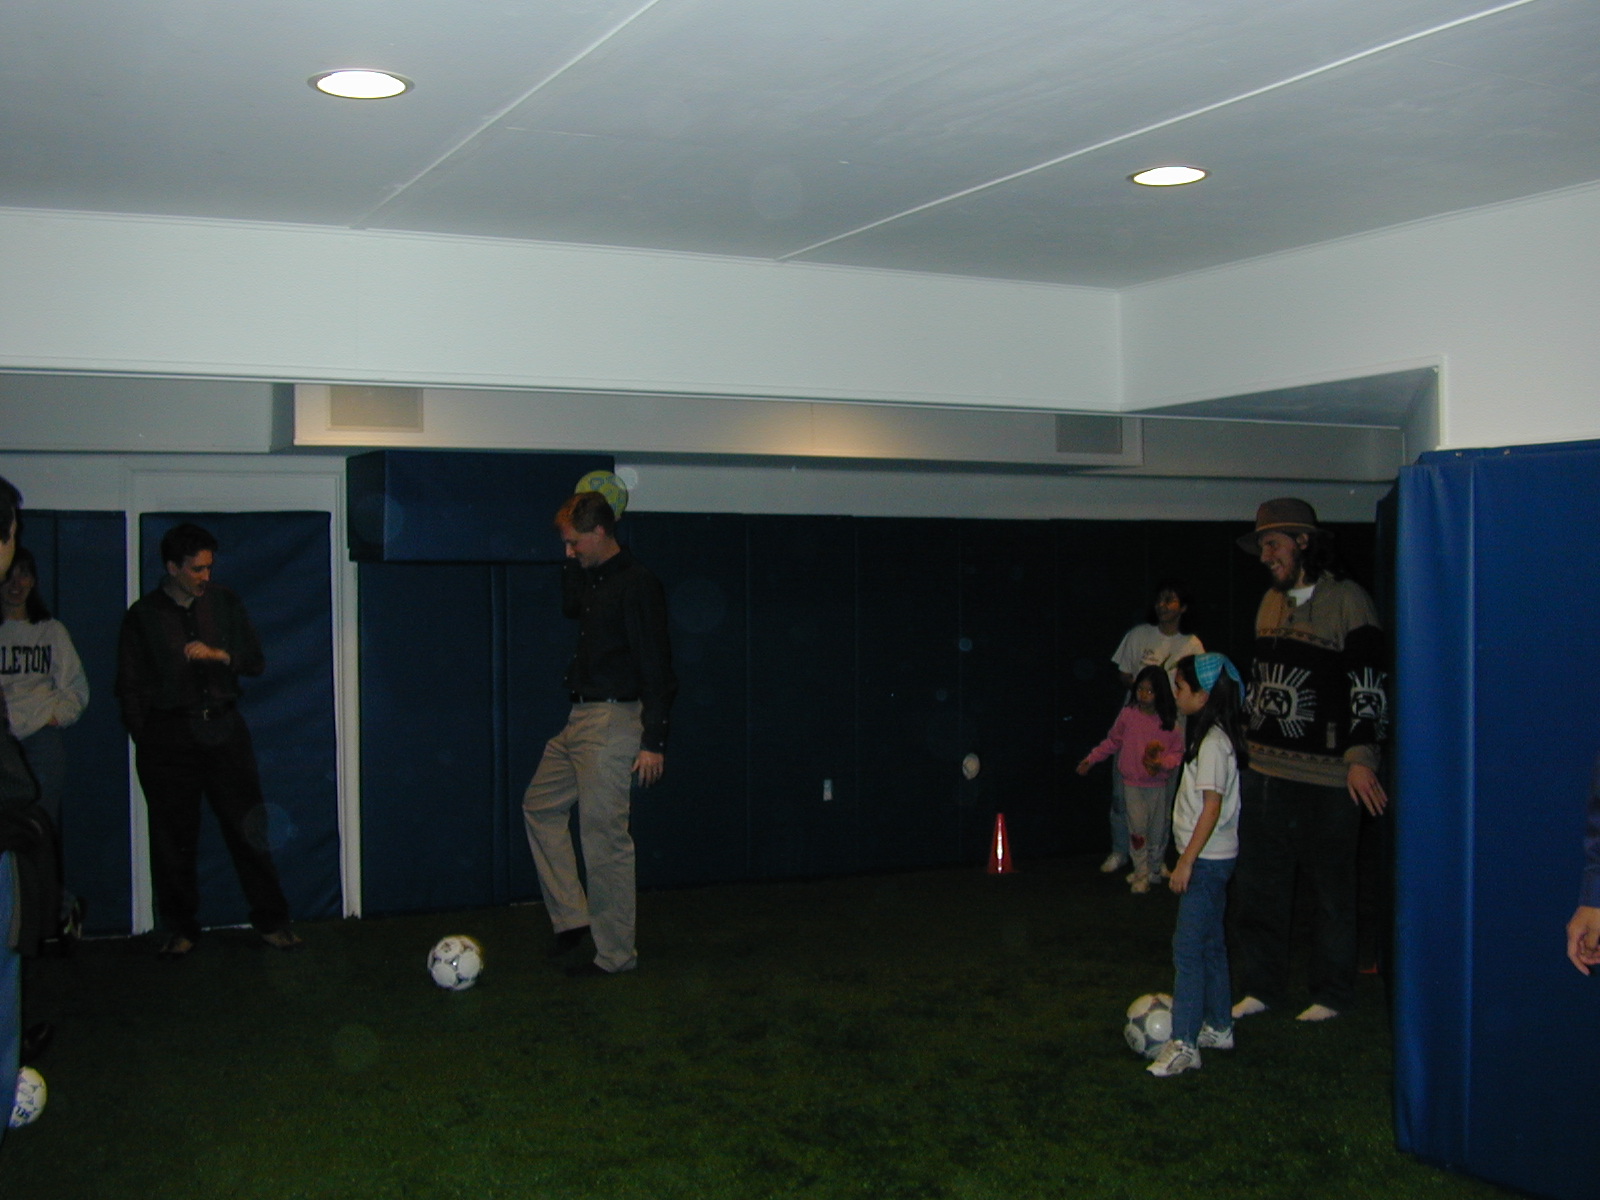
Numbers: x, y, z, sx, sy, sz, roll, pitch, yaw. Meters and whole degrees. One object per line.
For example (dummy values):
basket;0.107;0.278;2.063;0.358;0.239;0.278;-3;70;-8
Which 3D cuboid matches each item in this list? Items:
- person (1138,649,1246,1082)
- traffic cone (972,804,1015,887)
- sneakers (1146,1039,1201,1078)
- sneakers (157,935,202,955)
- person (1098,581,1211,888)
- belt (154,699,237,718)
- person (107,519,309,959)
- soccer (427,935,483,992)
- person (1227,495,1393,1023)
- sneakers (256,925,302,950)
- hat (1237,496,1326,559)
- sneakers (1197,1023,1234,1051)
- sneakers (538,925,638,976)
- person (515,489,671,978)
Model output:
person;1.488;0.987;4.744;0.308;1.567;0.482;1;2;37
traffic cone;1.266;1.554;8.023;0.283;0.552;0.290;3;-3;-21
sneakers;1.390;1.713;4.711;0.187;0.084;0.104;8;-13;-43
sneakers;-3.165;1.735;6.339;0.071;0.090;0.201;1;-16;-6
person;2.211;0.826;7.849;0.655;1.891;0.545;6;11;14
belt;-3.075;0.545;6.365;0.352;0.091;0.057;-2;2;-31
person;-3.072;0.685;6.415;0.753;2.159;0.378;-2;2;-25
soccer;-1.608;1.646;5.808;0.221;0.271;0.226;-4;-4;-21
person;2.081;0.658;5.130;0.584;2.149;0.418;0;2;28
sneakers;-2.688;1.734;6.452;0.219;0.100;0.084;8;-2;5
hat;1.988;-0.320;5.141;0.286;0.161;0.261;9;-14;-25
sneakers;1.620;1.706;4.933;0.156;0.105;0.084;2;2;14
sneakers;-1.010;1.727;6.109;0.504;0.234;0.188;7;-2;-6
person;-1.015;0.546;6.115;0.686;2.406;1.089;-1;2;-13
